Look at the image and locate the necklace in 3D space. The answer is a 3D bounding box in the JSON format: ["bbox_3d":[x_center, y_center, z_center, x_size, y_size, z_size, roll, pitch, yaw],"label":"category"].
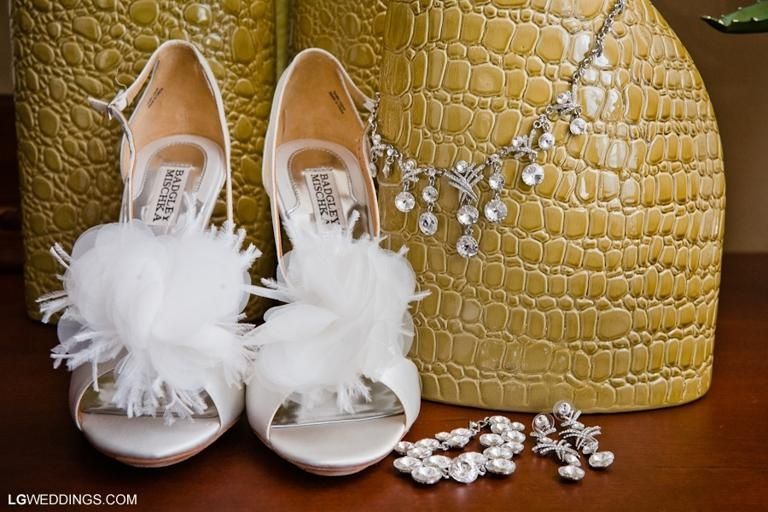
[{"bbox_3d":[0.155,-0.114,1.046,0.298,0.156,0.336,0,51,31],"label":"necklace"}]

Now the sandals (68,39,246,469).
[{"bbox_3d":[-0.281,-0.017,1.102,0.227,0.226,0.620,1,62,-10],"label":"sandals"}]

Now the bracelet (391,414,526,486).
[{"bbox_3d":[0.097,0.246,0.944,0.113,0.021,0.083,3,22,16],"label":"bracelet"}]

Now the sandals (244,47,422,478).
[{"bbox_3d":[-0.104,0.006,1.088,0.222,0.215,0.589,-3,63,-9],"label":"sandals"}]
